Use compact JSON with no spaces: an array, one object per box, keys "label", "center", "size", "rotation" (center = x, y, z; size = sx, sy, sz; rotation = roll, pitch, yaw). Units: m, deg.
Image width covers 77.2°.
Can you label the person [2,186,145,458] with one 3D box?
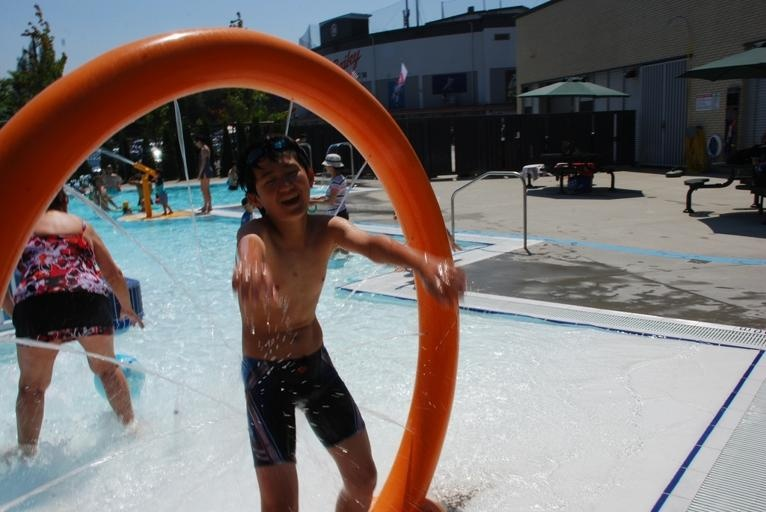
[{"label":"person","center":[-2.190,0.474,3.371],"size":[0.893,1.858,0.626],"rotation":[-9,12,-28]}]

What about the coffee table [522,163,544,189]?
[{"label":"coffee table","center":[5.017,-2.689,16.020],"size":[0.625,0.740,2.362],"rotation":[0,12,18]}]
